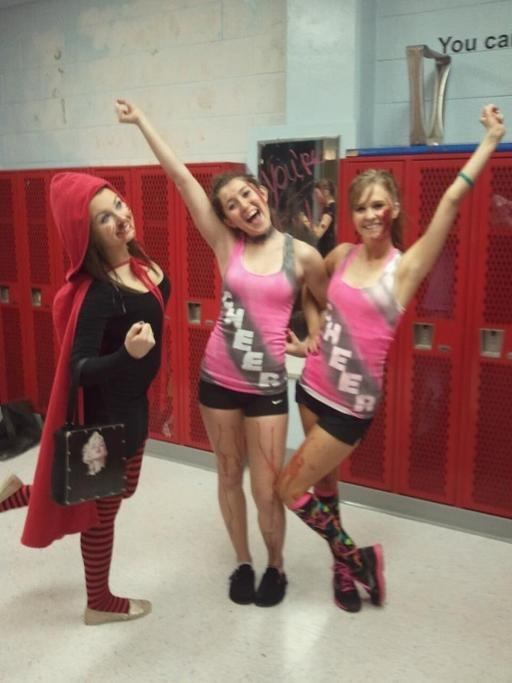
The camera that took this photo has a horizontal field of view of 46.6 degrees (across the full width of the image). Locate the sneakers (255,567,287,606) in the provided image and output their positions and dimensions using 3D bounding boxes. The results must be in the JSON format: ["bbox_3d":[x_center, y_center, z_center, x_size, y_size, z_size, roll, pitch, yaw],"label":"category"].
[{"bbox_3d":[0.050,0.879,2.138,0.065,0.064,0.148,3,9,11],"label":"sneakers"}]

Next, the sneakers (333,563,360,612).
[{"bbox_3d":[0.323,0.874,2.134,0.069,0.141,0.199,0,11,-7],"label":"sneakers"}]

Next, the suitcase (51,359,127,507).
[{"bbox_3d":[-0.461,0.273,1.631,0.070,0.317,0.178,-3,0,32],"label":"suitcase"}]

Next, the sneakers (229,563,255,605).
[{"bbox_3d":[-0.050,0.883,2.166,0.066,0.057,0.136,1,14,-2],"label":"sneakers"}]

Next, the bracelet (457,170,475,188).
[{"bbox_3d":[0.574,-0.432,1.619,0.013,0.048,0.051,-34,19,25],"label":"bracelet"}]

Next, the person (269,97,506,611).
[{"bbox_3d":[0.397,0.149,1.911,0.628,1.632,0.356,2,8,23],"label":"person"}]

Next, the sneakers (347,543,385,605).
[{"bbox_3d":[0.415,0.835,2.136,0.100,0.265,0.096,4,35,17],"label":"sneakers"}]

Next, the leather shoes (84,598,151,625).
[{"bbox_3d":[-0.464,0.897,2.038,0.195,0.078,0.090,-3,5,-19],"label":"leather shoes"}]
